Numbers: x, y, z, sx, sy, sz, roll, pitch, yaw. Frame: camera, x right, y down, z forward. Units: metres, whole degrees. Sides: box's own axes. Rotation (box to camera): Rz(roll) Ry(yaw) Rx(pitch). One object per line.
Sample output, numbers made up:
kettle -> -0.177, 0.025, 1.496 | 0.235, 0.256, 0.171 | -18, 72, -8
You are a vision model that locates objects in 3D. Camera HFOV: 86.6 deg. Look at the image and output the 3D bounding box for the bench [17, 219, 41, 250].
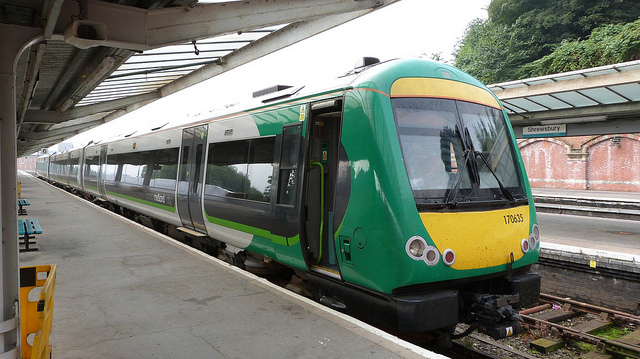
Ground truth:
bench -> -7.908, 1.510, 9.216 | 0.496, 0.321, 1.462 | 4, 5, -28
